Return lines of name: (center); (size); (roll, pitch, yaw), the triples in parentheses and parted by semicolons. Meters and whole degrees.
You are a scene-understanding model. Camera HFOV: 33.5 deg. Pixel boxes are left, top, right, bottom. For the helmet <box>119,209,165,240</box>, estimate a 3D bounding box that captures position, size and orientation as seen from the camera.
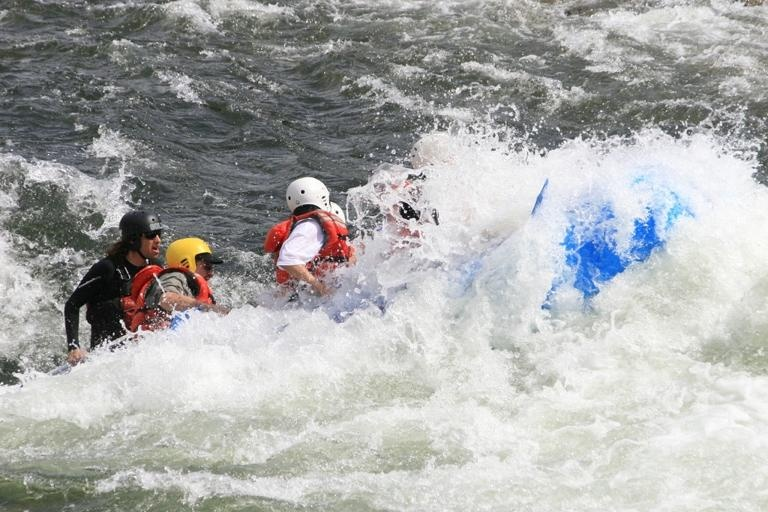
helmet: (-4.156, -0.525, 21.610); (0.677, 0.423, 0.446); (-18, 11, 4)
